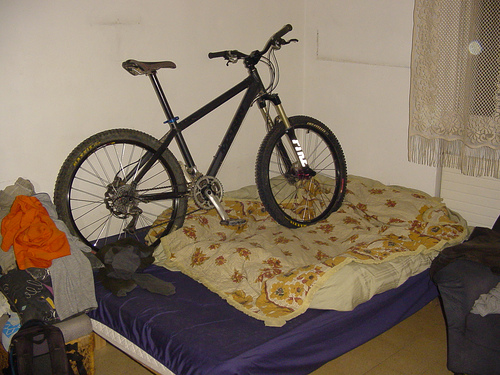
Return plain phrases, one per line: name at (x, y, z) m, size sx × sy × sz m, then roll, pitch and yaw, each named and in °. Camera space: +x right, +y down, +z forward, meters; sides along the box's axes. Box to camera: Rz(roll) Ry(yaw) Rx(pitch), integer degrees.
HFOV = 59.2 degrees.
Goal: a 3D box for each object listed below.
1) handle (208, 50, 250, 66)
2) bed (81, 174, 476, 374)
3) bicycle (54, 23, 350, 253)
handle at (-0.132, -0.878, 2.976) m, size 0.234 × 0.118 × 0.101 m, roll -2°, pitch 40°, yaw 2°
bed at (0.334, 0.460, 2.581) m, size 1.793 × 0.479 × 1.224 m, roll -26°, pitch 41°, yaw -32°
bicycle at (-0.230, -0.257, 2.937) m, size 2.067 × 1.354 × 0.918 m, roll -9°, pitch 8°, yaw -21°
